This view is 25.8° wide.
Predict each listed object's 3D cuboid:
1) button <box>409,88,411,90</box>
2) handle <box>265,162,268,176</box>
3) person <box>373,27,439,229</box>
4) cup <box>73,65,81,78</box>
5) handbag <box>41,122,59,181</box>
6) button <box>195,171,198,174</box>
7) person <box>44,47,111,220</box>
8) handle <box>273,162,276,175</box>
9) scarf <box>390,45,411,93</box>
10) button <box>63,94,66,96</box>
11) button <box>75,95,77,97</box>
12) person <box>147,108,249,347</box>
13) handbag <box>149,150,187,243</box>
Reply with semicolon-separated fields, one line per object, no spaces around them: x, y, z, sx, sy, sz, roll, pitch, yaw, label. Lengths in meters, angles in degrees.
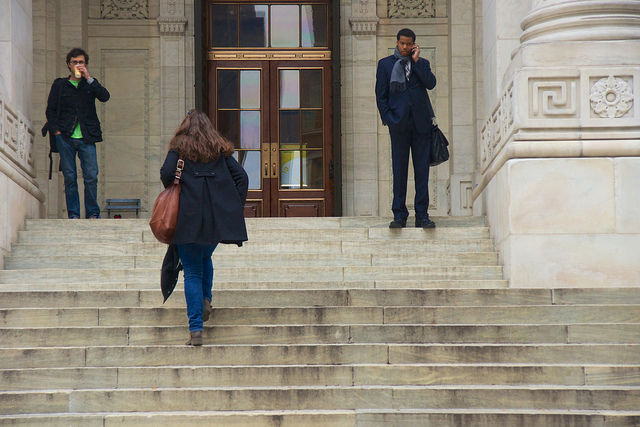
1.173;-1.629;18.183;0.024;0.041;0.024;-4;8;-30;button
-0.810;-0.689;21.815;0.043;0.179;0.070;-2;15;-1;handle
1.152;-1.108;18.173;0.755;2.548;0.864;-3;15;-2;person
-3.240;-1.937;18.926;0.078;0.182;0.082;-2;15;1;cup
-3.675;-0.857;19.224;0.204;0.750;0.565;7;8;-3;handbag
-1.384;-0.462;15.939;0.032;0.029;0.007;0;0;-7;button
-3.237;-1.080;19.021;0.798;2.319;0.680;-5;16;-12;person
-0.682;-0.699;21.817;0.044;0.179;0.065;-3;15;-1;handle
1.054;-1.889;18.209;0.238;0.579;0.358;2;16;13;scarf
-3.420;-1.620;18.952;0.028;0.024;0.006;-3;10;-2;button
-3.266;-1.606;18.981;0.026;0.026;0.014;-5;16;-11;button
-1.345;0.167;16.029;1.123;2.588;1.043;-3;15;-3;person
-1.669;-0.133;15.887;0.244;0.890;0.430;8;18;33;handbag
